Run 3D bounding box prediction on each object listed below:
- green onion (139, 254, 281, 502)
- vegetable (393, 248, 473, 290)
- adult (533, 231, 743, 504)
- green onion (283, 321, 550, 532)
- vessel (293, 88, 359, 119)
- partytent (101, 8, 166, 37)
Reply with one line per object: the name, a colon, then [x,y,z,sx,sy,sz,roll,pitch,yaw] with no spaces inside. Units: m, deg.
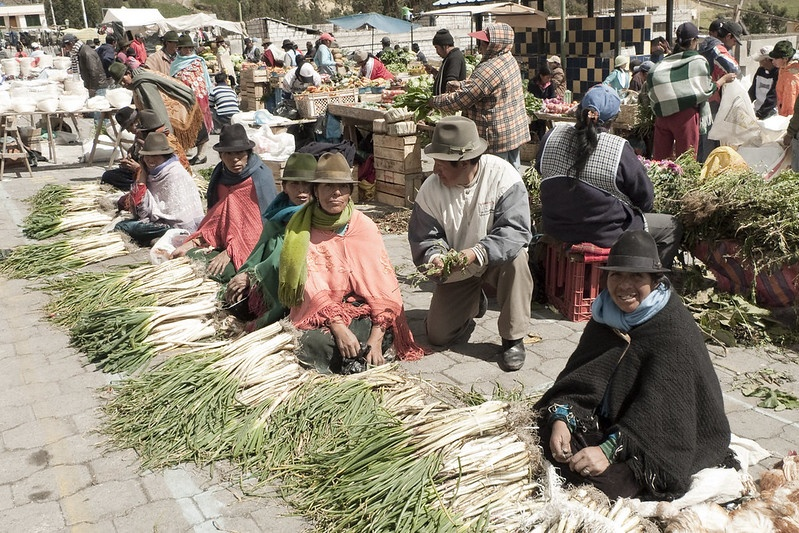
green onion: [-1.146,0.834,3.952,0.886,0.429,0.874,4,50,13]
vegetable: [0.265,0.039,4.555,0.454,0.195,0.285,-20,-8,23]
adult: [1.323,0.505,3.850,1.340,1.596,1.395,-6,5,-22]
green onion: [0.005,0.947,3.027,0.854,0.388,0.810,-17,46,2]
vessel: [-1.125,-2.605,9.199,0.784,0.326,0.547,-9,18,-13]
partytent: [-11.176,-10.582,25.000,2.737,1.113,2.661,-11,37,-21]
